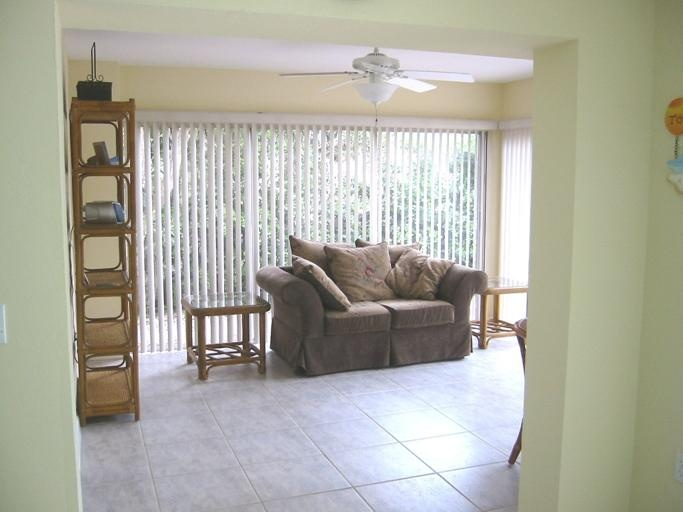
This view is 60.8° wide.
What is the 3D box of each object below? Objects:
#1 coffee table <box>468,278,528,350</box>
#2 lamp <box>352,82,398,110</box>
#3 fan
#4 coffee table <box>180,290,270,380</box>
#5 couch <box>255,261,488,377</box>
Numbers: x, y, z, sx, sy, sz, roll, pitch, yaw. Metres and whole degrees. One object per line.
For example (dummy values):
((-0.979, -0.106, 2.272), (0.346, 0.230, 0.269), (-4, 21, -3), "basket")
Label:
((1.686, 0.620, 6.485), (0.784, 0.694, 0.733), (-2, 8, -19), "coffee table")
((0.252, -1.209, 4.304), (0.207, 0.090, 0.205), (1, -1, -37), "lamp")
((0.217, -1.632, 5.583), (1.230, 0.586, 1.214), (0, 2, -31), "fan")
((-1.122, 0.682, 5.447), (0.803, 0.729, 0.786), (-2, 7, -21), "coffee table")
((0.143, 0.737, 5.768), (1.973, 0.907, 1.034), (-1, 1, -24), "couch")
